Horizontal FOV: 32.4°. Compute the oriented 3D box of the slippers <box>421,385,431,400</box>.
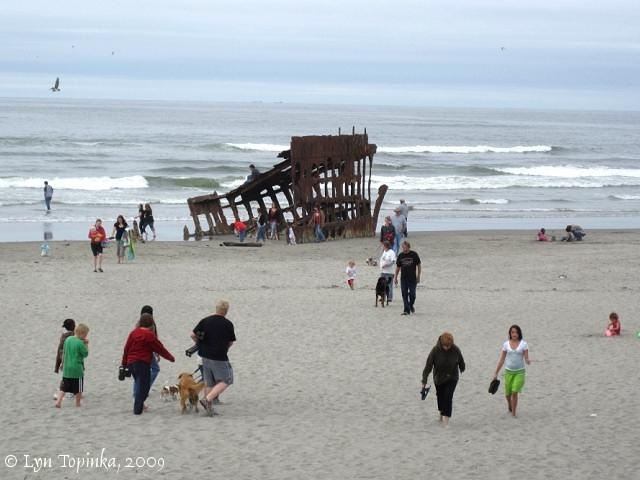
[{"bbox_3d":[2.312,3.373,24.176,0.130,0.259,0.357,14,8,-8],"label":"slippers"}]

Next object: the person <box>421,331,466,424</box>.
[{"bbox_3d":[2.659,3.070,24.040,0.890,2.007,0.456,-1,3,5],"label":"person"}]

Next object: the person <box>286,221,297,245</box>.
[{"bbox_3d":[-1.150,-0.121,41.980,0.361,0.658,0.992,-2,3,-2],"label":"person"}]

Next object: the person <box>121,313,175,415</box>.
[{"bbox_3d":[-3.920,2.787,24.237,0.999,2.222,0.542,-2,3,-5],"label":"person"}]

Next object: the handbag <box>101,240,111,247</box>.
[{"bbox_3d":[-7.569,0.182,38.454,0.257,0.186,0.256,0,-4,4],"label":"handbag"}]

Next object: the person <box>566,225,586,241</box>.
[{"bbox_3d":[9.896,-0.232,43.087,0.716,0.523,0.598,1,14,29],"label":"person"}]

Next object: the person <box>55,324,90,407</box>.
[{"bbox_3d":[-5.556,2.838,24.404,0.735,1.836,0.390,-2,3,-4],"label":"person"}]

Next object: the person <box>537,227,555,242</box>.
[{"bbox_3d":[8.761,-0.074,42.692,0.821,0.510,0.672,-2,9,-8],"label":"person"}]

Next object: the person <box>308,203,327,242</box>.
[{"bbox_3d":[-0.137,-0.560,42.411,0.426,1.370,0.741,-1,3,9],"label":"person"}]

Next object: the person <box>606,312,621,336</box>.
[{"bbox_3d":[7.649,2.245,28.903,0.396,0.608,0.932,-1,3,15],"label":"person"}]

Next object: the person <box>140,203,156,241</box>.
[{"bbox_3d":[-6.997,-0.672,43.462,0.829,1.555,0.531,-4,-17,-2],"label":"person"}]

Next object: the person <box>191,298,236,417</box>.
[{"bbox_3d":[-2.364,2.660,24.176,0.899,2.556,0.304,-2,3,-3],"label":"person"}]

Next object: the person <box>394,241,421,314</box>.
[{"bbox_3d":[2.313,1.097,29.612,0.605,2.004,0.971,-1,3,3],"label":"person"}]

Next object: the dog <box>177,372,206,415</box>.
[{"bbox_3d":[-2.952,3.464,24.571,0.447,0.851,1.853,2,2,-18],"label":"dog"}]
